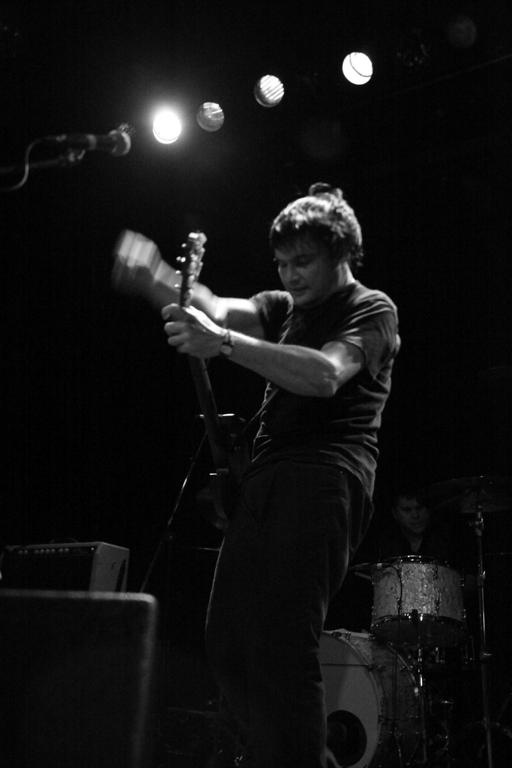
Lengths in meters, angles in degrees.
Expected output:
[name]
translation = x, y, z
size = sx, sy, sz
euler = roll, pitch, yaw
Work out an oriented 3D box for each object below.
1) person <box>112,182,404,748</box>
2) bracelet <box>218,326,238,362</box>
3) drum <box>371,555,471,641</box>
[person]
translation = 0.079, 0.122, 2.381
size = 0.546, 1.546, 0.537
euler = 0, -7, 16
[bracelet]
translation = -0.074, -0.105, 2.266
size = 0.032, 0.086, 0.093
euler = 2, -8, -2
[drum]
translation = 0.833, 1.092, 4.692
size = 0.436, 0.333, 0.470
euler = 3, -31, 2
